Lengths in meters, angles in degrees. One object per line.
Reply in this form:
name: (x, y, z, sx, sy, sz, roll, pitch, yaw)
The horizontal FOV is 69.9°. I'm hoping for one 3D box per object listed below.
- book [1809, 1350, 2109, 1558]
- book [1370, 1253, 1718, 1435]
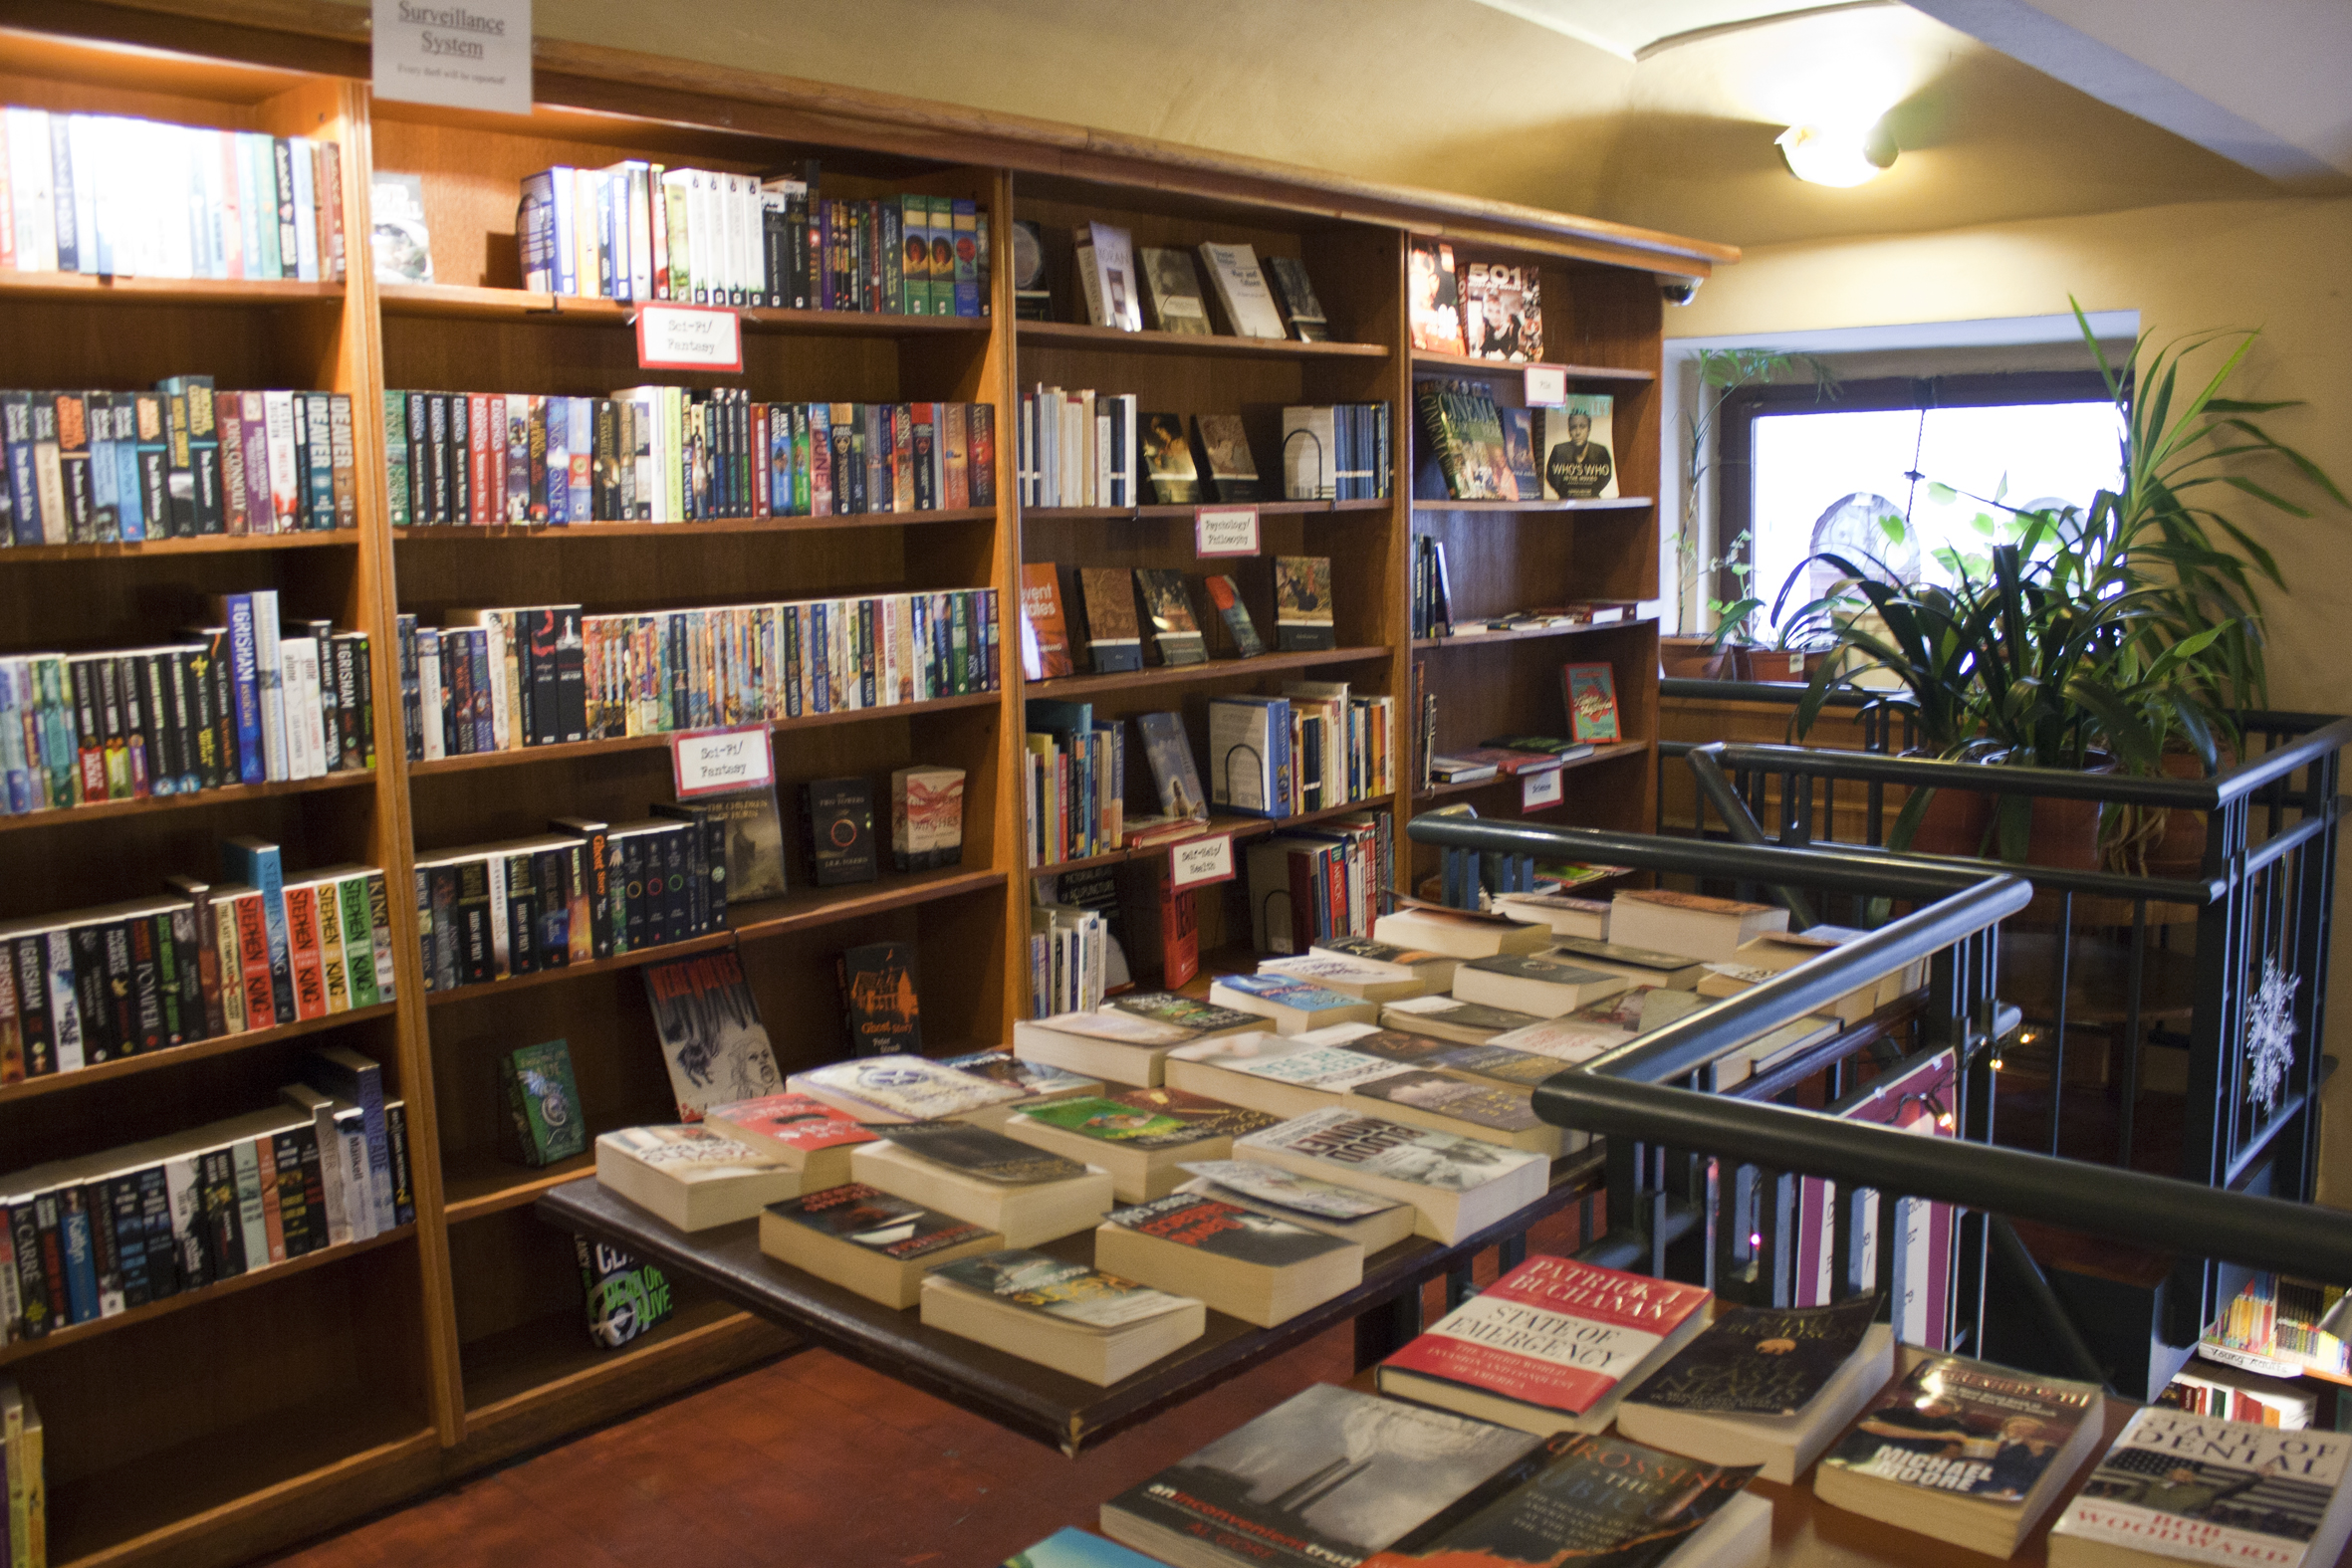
book: (0.904, 0.752, 1.952, 0.186, 0.048, 0.263, 5, 14, 40)
book: (0.477, 0.715, 2.145, 0.270, 0.045, 0.398, 4, 11, 37)
